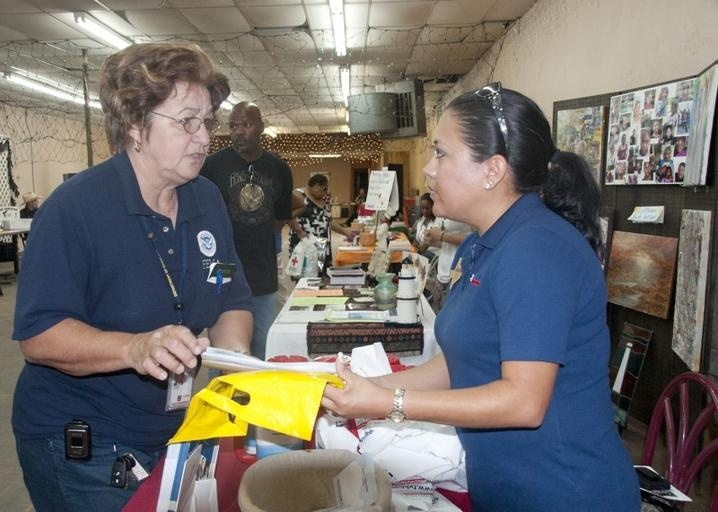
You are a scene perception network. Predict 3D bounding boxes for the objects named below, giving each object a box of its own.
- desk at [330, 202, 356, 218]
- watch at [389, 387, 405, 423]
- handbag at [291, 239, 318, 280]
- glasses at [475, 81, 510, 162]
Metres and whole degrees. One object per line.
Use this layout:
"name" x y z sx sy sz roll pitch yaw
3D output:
"desk" -0.765 -2.030 22.702 1.341 0.870 1.382 0 2 1
"watch" 0.110 0.423 1.481 0.052 0.084 0.088 1 5 8
"handbag" -0.458 0.028 4.377 0.284 0.376 0.208 2 15 -5
"glasses" 0.415 -0.411 1.595 0.058 0.198 0.141 -16 29 -21
